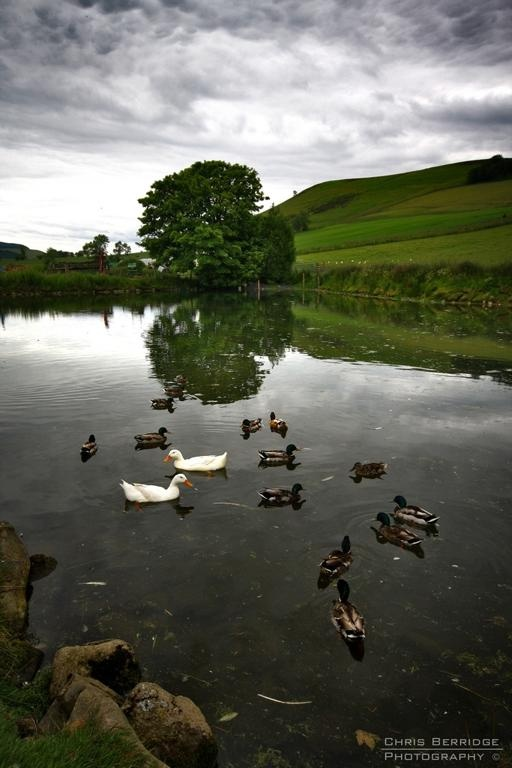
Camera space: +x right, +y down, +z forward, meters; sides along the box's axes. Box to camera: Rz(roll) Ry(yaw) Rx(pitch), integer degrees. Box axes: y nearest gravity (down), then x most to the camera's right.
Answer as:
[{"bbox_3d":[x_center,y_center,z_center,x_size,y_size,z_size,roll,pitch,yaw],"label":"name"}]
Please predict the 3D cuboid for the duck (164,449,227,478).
[{"bbox_3d":[-1.325,1.713,12.293,1.187,0.572,0.630,-2,27,2],"label":"duck"}]

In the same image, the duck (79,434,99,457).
[{"bbox_3d":[-4.000,1.493,12.920,0.225,0.305,0.714,2,18,-3],"label":"duck"}]

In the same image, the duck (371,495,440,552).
[{"bbox_3d":[2.653,2.562,9.706,0.485,0.661,1.675,-36,9,-12],"label":"duck"}]

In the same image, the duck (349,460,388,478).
[{"bbox_3d":[2.456,1.866,11.732,0.579,0.240,0.358,-6,0,10],"label":"duck"}]

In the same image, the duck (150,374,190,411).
[{"bbox_3d":[-2.781,0.386,17.458,0.556,0.866,1.430,8,21,31],"label":"duck"}]

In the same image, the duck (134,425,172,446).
[{"bbox_3d":[-2.694,1.363,13.914,0.820,0.313,0.690,-1,14,-10],"label":"duck"}]

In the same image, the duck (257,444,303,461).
[{"bbox_3d":[0.528,1.607,12.640,1.028,0.456,0.340,-4,-6,-5],"label":"duck"}]

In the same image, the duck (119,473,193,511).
[{"bbox_3d":[-2.010,2.135,10.925,1.255,0.751,0.566,4,30,-13],"label":"duck"}]

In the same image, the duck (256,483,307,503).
[{"bbox_3d":[0.500,2.183,10.687,0.665,0.448,0.378,4,2,-6],"label":"duck"}]
